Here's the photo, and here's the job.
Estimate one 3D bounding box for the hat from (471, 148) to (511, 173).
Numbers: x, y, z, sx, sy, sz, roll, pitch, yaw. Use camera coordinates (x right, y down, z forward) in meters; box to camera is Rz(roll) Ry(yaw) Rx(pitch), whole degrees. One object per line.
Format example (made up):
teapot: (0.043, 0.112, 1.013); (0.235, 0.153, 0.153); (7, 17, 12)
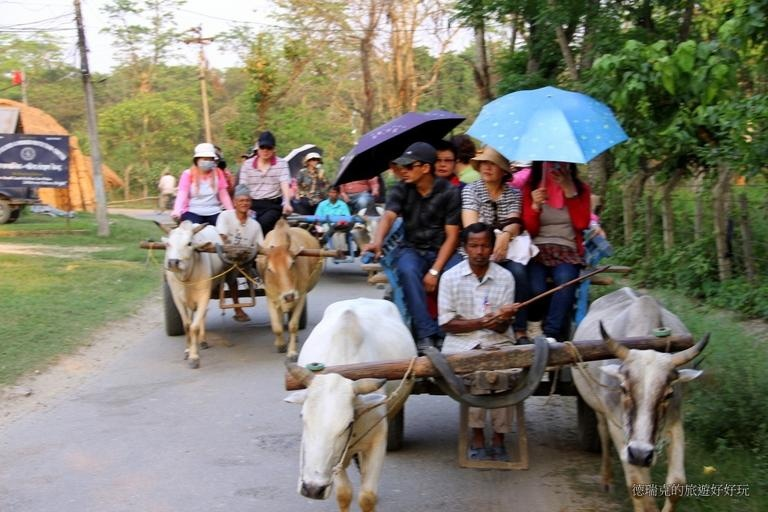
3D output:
hat: (1.309, -1.150, 10.345); (0.439, 0.192, 0.368); (31, -23, -35)

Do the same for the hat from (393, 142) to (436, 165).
hat: (0.337, -1.178, 10.188); (0.474, 0.166, 0.263); (2, 3, -7)

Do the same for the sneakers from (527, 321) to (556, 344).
sneakers: (1.732, 0.817, 9.830); (0.265, 0.264, 0.115); (-12, -13, -15)

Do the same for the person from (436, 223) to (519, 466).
person: (0.996, 0.892, 9.603); (0.848, 2.527, 0.552); (0, 8, 4)

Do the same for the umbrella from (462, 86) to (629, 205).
umbrella: (1.806, -1.474, 9.856); (1.680, 0.889, 0.985); (1, 6, 11)

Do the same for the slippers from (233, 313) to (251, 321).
slippers: (-2.328, 0.965, 14.423); (0.192, 0.036, 0.169); (8, 3, 20)

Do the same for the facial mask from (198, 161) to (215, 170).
facial mask: (-2.721, -1.397, 13.510); (0.202, 0.081, 0.173); (-1, 10, -18)

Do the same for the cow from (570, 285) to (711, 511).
cow: (2.489, 1.468, 8.867); (1.212, 2.086, 1.742); (1, 7, 10)

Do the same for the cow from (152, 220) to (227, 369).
cow: (-2.717, 0.474, 12.652); (0.854, 1.982, 1.189); (-2, 7, -10)

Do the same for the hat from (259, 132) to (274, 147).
hat: (-1.889, -1.867, 14.104); (0.269, 0.264, 0.267); (-2, 6, -11)

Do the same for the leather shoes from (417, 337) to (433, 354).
leather shoes: (0.462, 0.981, 9.984); (0.196, 0.202, 0.129); (0, 7, 2)

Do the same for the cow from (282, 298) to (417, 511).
cow: (-0.299, 1.558, 8.809); (1.170, 2.018, 2.013); (0, 6, 2)
